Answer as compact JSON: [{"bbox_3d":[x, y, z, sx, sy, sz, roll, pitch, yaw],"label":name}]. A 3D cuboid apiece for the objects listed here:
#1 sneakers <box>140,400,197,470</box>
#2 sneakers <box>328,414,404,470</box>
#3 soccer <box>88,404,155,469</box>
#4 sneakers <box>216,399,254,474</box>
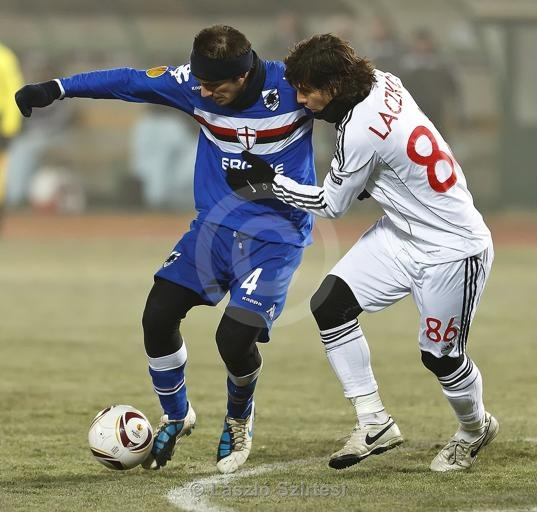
[{"bbox_3d":[-0.438,0.910,4.578,0.150,0.178,0.390,20,61,36],"label":"sneakers"},{"bbox_3d":[0.455,0.900,4.439,0.466,0.172,0.159,-10,1,-42],"label":"sneakers"},{"bbox_3d":[-0.725,0.913,4.450,0.307,0.316,0.198,-1,12,-8],"label":"soccer"},{"bbox_3d":[-0.141,0.925,4.561,0.132,0.302,0.140,9,-21,5],"label":"sneakers"}]
